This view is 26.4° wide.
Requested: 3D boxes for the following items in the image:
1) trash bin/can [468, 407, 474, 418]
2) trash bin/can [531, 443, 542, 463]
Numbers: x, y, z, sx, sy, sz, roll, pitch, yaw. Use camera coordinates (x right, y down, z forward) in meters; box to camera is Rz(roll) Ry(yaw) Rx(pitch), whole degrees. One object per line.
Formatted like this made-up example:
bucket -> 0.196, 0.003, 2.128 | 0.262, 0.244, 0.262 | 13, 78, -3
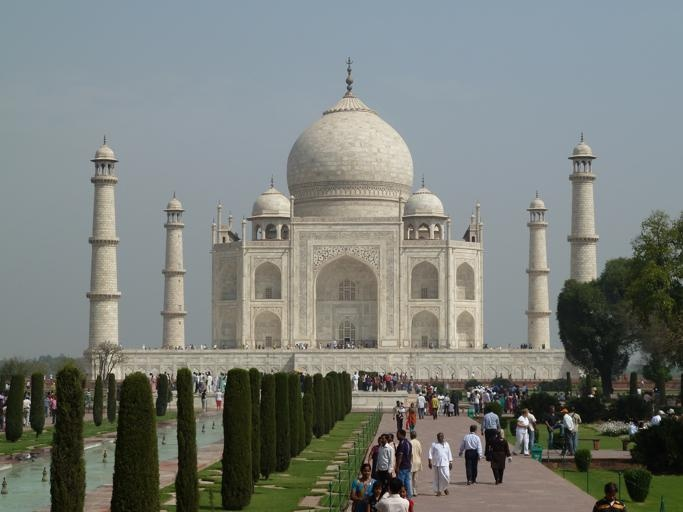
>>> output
trash bin/can -> 4.580, 5.494, 51.007 | 0.209, 0.391, 0.208 | -1, -12, -6
trash bin/can -> 4.941, 5.009, 36.990 | 0.311, 0.502, 0.343 | 1, -6, 4
